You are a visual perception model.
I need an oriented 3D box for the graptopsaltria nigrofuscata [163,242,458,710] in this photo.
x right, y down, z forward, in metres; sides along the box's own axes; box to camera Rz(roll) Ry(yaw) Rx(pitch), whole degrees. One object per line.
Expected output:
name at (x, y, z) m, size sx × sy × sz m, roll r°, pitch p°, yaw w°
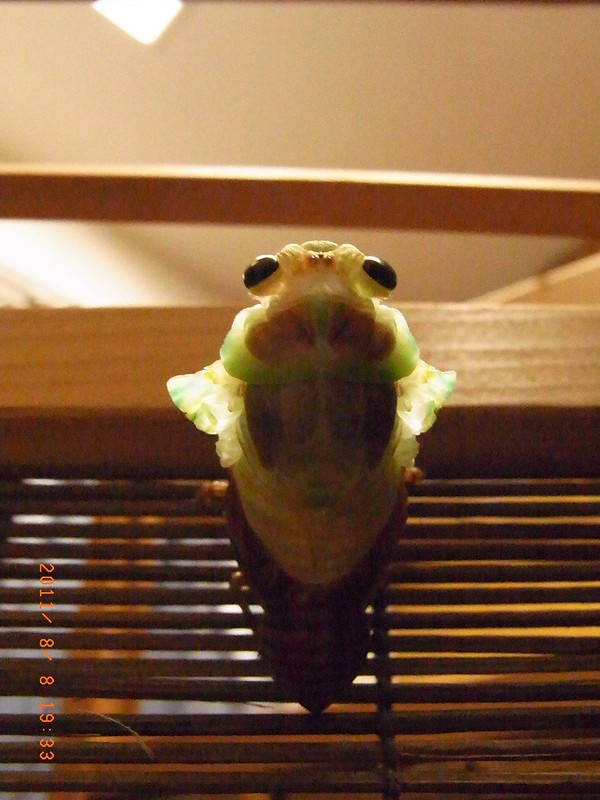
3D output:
graptopsaltria nigrofuscata at (-0.007, 0.059, 0.846) m, size 0.176 × 0.310 × 0.211 m, roll 9°, pitch -22°, yaw -24°
